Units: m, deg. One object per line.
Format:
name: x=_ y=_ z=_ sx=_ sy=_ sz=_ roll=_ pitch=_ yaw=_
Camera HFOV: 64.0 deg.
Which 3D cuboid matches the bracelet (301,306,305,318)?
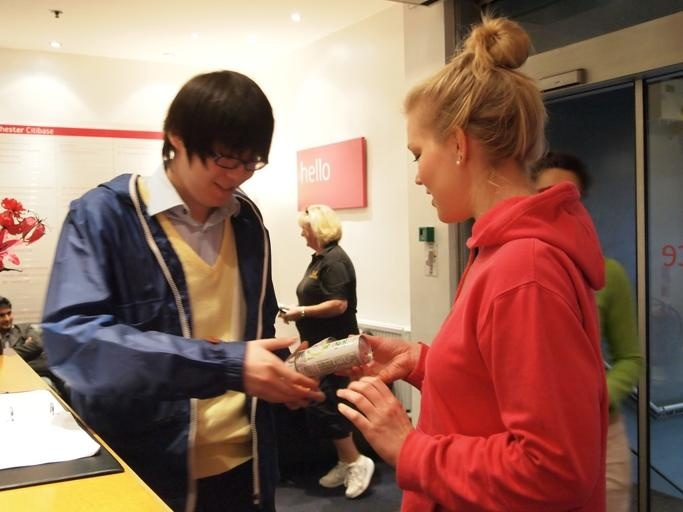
bracelet: x=-0.236 y=0.346 z=3.347 sx=0.032 sy=0.047 sz=0.043 roll=7 pitch=6 yaw=0
